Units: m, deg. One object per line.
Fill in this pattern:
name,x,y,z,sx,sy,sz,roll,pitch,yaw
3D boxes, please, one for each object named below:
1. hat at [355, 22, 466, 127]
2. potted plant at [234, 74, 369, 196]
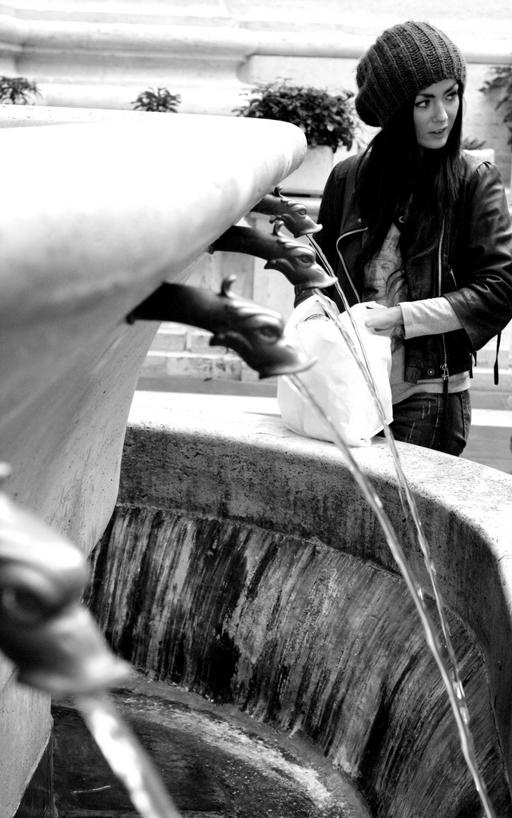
hat,0.428,-1.031,2.420,0.243,0.265,0.310,-16,15,5
potted plant,0.387,-2.688,7.185,1.075,1.161,0.990,-4,45,-4
